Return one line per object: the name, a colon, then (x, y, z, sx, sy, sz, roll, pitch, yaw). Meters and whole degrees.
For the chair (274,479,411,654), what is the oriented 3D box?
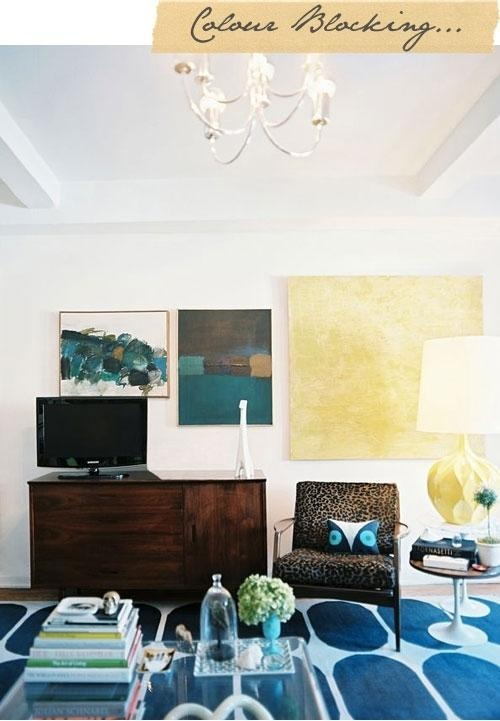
chair: (0.508, 1.001, 3.442, 0.652, 0.652, 0.751, -2, -15, 10)

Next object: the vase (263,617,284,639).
vase: (0.080, 1.008, 2.373, 0.091, 0.104, 0.089, 0, -17, -1)

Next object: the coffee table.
coffee table: (0.999, 1.163, 3.132, 0.438, 0.311, 0.417, 0, -5, -3)

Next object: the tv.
tv: (-0.978, 0.465, 3.825, 0.512, 0.355, 0.091, 0, -2, -1)

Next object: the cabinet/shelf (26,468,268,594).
cabinet/shelf: (-0.573, 1.029, 3.784, 1.353, 0.728, 0.398, 1, 5, -11)

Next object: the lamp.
lamp: (0.023, -1.237, 3.062, 0.444, 0.458, 0.409, 1, -3, -37)

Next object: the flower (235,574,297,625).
flower: (0.054, 0.901, 2.348, 0.210, 0.204, 0.201, 0, -9, -5)

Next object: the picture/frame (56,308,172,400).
picture/frame: (-0.906, -0.027, 4.139, 0.608, 0.458, 0.021, 0, -4, -4)
